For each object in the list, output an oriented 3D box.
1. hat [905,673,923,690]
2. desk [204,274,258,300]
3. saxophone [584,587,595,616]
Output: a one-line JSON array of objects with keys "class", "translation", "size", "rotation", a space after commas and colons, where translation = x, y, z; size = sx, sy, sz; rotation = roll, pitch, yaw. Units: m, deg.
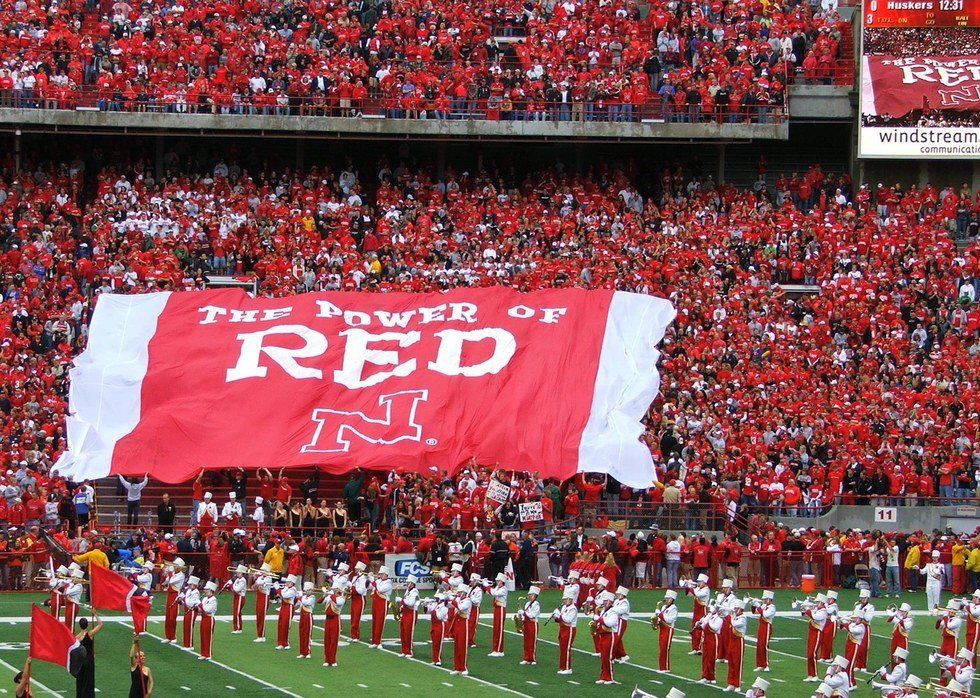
[{"class": "hat", "translation": [10.092, 7.836, 53.659], "size": [0.364, 0.337, 0.317], "rotation": [24, -11, -3]}, {"class": "desk", "translation": [-8.348, -2.039, 74.178], "size": [1.744, 0.550, 1.253], "rotation": [0, 6, -9]}, {"class": "saxophone", "translation": [2.722, 6.802, 61.626], "size": [0.232, 0.612, 0.421], "rotation": [9, -6, -6]}]
